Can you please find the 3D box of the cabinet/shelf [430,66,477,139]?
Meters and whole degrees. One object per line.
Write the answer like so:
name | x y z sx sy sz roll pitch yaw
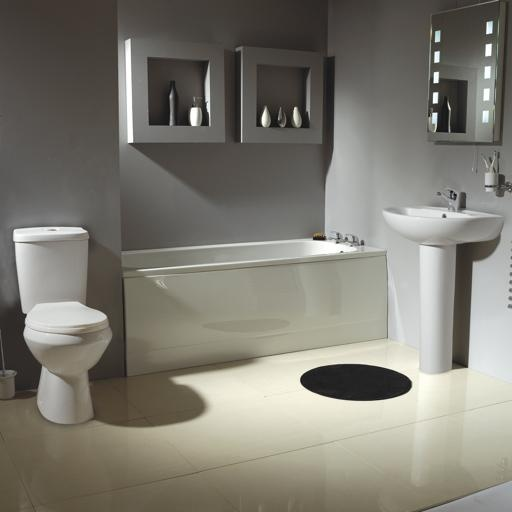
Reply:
cabinet/shelf | 1.190 -0.912 2.804 0.294 0.421 0.173 10 20 41

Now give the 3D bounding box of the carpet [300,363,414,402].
carpet | 0.585 0.739 2.683 0.654 0.019 0.518 0 4 0

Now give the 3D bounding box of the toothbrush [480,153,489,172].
toothbrush | 1.313 -0.535 2.633 0.016 0.093 0.046 6 -2 -30

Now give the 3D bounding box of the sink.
sink | 1.076 -0.181 2.699 0.678 0.238 0.528 4 6 42

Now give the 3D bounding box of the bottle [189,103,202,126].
bottle | -0.436 -1.031 3.328 0.114 0.211 0.123 1 12 0

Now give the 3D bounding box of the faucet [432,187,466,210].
faucet | 1.191 -0.360 2.842 0.175 0.200 0.112 6 9 29

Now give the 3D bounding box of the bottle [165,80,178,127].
bottle | -0.609 -1.106 3.331 0.071 0.360 0.165 -1 4 -11

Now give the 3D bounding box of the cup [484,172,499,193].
cup | 1.297 -0.409 2.534 0.074 0.108 0.085 0 9 3

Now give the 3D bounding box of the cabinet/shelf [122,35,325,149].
cabinet/shelf | -0.160 -1.229 3.537 1.656 0.812 0.219 -2 4 -26
